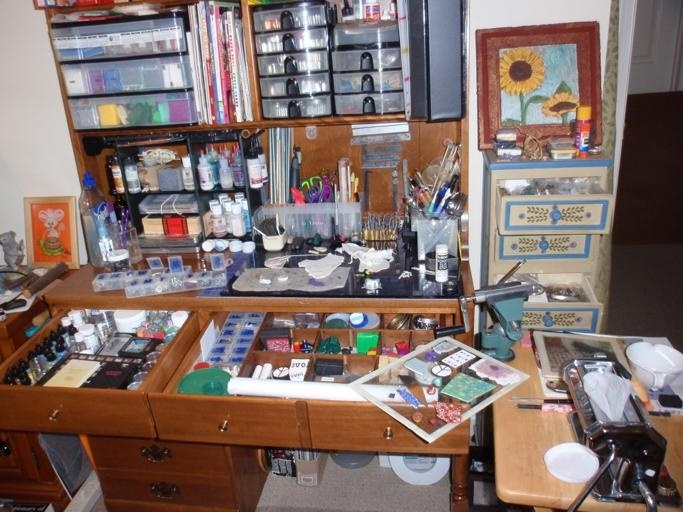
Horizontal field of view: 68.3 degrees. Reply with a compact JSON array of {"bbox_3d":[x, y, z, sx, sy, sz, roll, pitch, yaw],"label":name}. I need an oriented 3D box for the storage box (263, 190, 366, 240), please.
[{"bbox_3d":[-0.106,-0.185,2.485,0.463,0.137,0.202,1,27,6],"label":"storage box"}]

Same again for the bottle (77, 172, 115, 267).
[{"bbox_3d":[-1.190,-0.173,2.485,0.172,0.471,0.143,-9,22,-22],"label":"bottle"}]

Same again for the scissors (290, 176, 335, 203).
[{"bbox_3d":[-0.141,-0.324,2.519,0.198,0.060,0.139,-24,42,-21],"label":"scissors"}]

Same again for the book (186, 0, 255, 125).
[{"bbox_3d":[-0.541,-0.837,2.234,0.377,0.445,0.128,0,13,0],"label":"book"}]

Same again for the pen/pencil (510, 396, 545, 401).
[{"bbox_3d":[0.650,0.493,1.748,0.060,0.007,0.013,0,34,10],"label":"pen/pencil"}]

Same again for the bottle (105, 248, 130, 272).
[{"bbox_3d":[-1.021,0.017,2.361,0.111,0.097,0.109,-18,36,-42],"label":"bottle"}]

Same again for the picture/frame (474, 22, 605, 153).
[{"bbox_3d":[0.933,-0.793,2.316,0.742,0.643,0.047,0,9,4],"label":"picture/frame"}]

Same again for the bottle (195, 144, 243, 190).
[{"bbox_3d":[-0.580,-0.454,2.499,0.291,0.260,0.160,-4,32,-9],"label":"bottle"}]

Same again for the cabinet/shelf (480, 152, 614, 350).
[{"bbox_3d":[0.966,-0.039,2.326,0.635,0.870,0.624,0,20,15],"label":"cabinet/shelf"}]

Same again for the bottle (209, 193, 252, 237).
[{"bbox_3d":[-0.504,-0.212,2.566,0.275,0.235,0.210,-4,20,-3],"label":"bottle"}]
